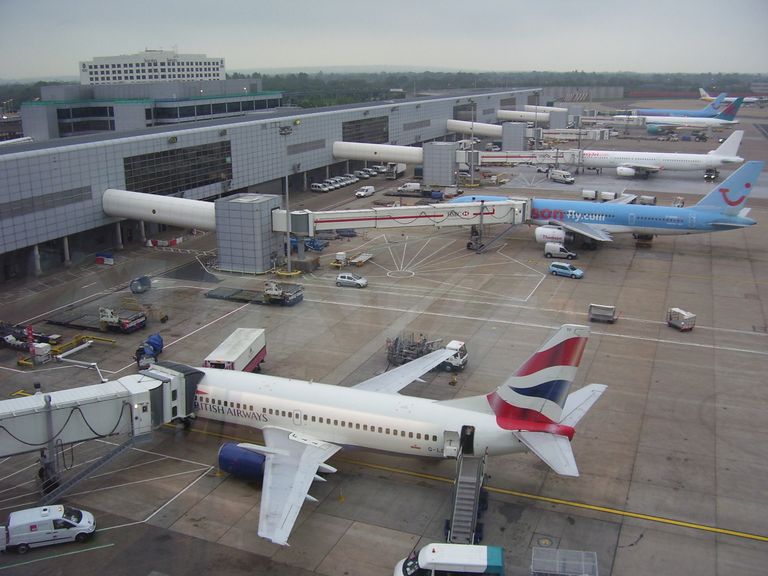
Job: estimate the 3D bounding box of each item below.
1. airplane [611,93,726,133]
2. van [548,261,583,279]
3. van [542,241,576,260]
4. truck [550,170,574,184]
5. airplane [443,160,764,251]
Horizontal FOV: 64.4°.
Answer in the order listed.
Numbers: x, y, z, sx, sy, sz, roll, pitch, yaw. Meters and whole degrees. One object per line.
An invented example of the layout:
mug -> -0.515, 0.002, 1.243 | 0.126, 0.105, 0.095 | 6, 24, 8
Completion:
airplane -> 99.124, -57.610, 210.313 | 43.425, 8.319, 30.227 | 2, 1, 17
van -> 21.934, -2.126, 74.373 | 4.245, 1.045, 1.887 | 2, 13, 18
van -> 23.075, -4.825, 81.058 | 4.702, 1.430, 2.079 | 1, 22, 10
truck -> 37.557, -23.479, 129.602 | 5.892, 2.000, 3.057 | 15, 31, 37
airplane -> 35.767, -13.270, 98.736 | 56.809, 10.049, 51.329 | -9, 14, -31
